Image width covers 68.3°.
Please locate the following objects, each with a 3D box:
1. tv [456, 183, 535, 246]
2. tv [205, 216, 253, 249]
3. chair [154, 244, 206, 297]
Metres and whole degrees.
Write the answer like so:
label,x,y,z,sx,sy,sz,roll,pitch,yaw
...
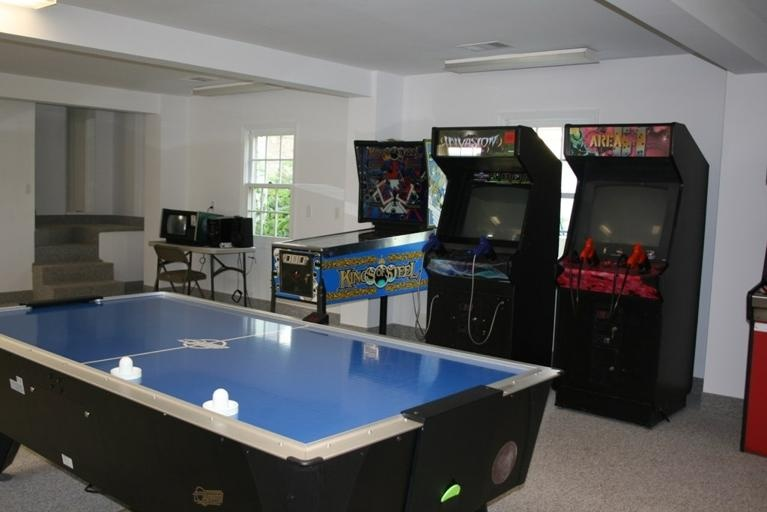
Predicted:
label,x,y,z,sx,sy,sz,roll,pitch,yaw
tv,1.033,-0.371,5.261,0.581,0.534,0.140,9,2,32
tv,-2.148,-0.331,7.864,0.752,0.400,0.554,0,2,-16
chair,-2.787,0.202,7.784,0.622,0.888,0.649,7,11,32
